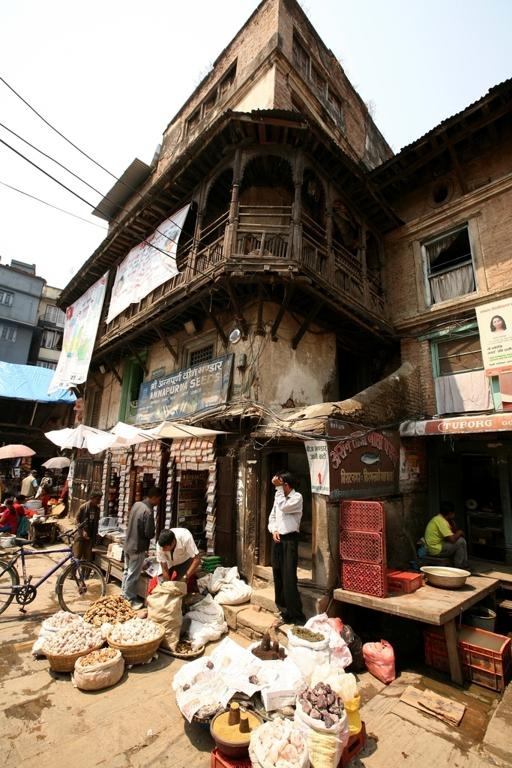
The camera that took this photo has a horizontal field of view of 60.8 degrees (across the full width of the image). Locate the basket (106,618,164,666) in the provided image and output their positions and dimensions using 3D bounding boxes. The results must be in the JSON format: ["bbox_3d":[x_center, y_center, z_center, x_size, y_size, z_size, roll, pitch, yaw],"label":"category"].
[{"bbox_3d":[-1.420,3.075,5.181,0.661,0.407,0.564,8,-13,-30],"label":"basket"}]

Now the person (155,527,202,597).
[{"bbox_3d":[-1.094,2.475,6.049,0.556,0.995,0.980,4,-11,-9],"label":"person"}]

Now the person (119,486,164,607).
[{"bbox_3d":[-1.776,2.420,6.634,0.433,1.700,0.429,5,-12,-12],"label":"person"}]

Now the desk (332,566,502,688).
[{"bbox_3d":[2.149,2.611,5.390,1.305,0.695,1.558,12,-20,-39],"label":"desk"}]

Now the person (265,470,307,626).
[{"bbox_3d":[0.410,2.152,5.815,0.455,1.890,0.529,4,-12,-10],"label":"person"}]

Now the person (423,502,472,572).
[{"bbox_3d":[3.104,2.449,7.138,0.631,1.033,0.482,9,-14,-31],"label":"person"}]

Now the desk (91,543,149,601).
[{"bbox_3d":[-2.243,3.110,7.223,0.406,0.340,1.541,13,-14,-31],"label":"desk"}]
